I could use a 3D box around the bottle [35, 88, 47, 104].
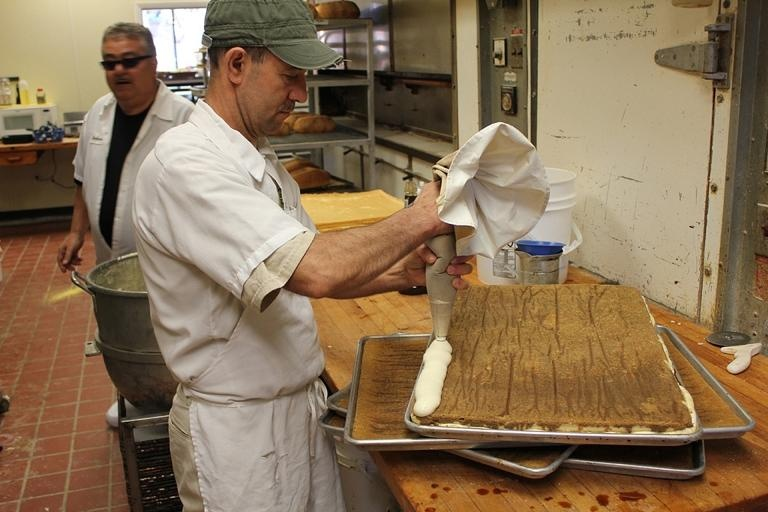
[{"bbox_3d":[-4.200,-1.950,7.121,0.122,0.171,0.195,-11,23,-21],"label":"bottle"}]

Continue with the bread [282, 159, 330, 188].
[{"bbox_3d":[-0.688,-0.723,5.189,0.481,0.161,0.484,-1,12,-14],"label":"bread"}]

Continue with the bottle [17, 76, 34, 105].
[{"bbox_3d":[-4.366,-1.999,7.068,0.120,0.295,0.180,-8,23,-13],"label":"bottle"}]

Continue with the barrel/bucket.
[{"bbox_3d":[0.642,-0.145,2.545,0.545,0.437,0.437,-4,13,-15],"label":"barrel/bucket"}]

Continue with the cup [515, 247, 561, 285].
[{"bbox_3d":[0.620,0.045,2.422,0.164,0.135,0.138,-1,4,-18],"label":"cup"}]
